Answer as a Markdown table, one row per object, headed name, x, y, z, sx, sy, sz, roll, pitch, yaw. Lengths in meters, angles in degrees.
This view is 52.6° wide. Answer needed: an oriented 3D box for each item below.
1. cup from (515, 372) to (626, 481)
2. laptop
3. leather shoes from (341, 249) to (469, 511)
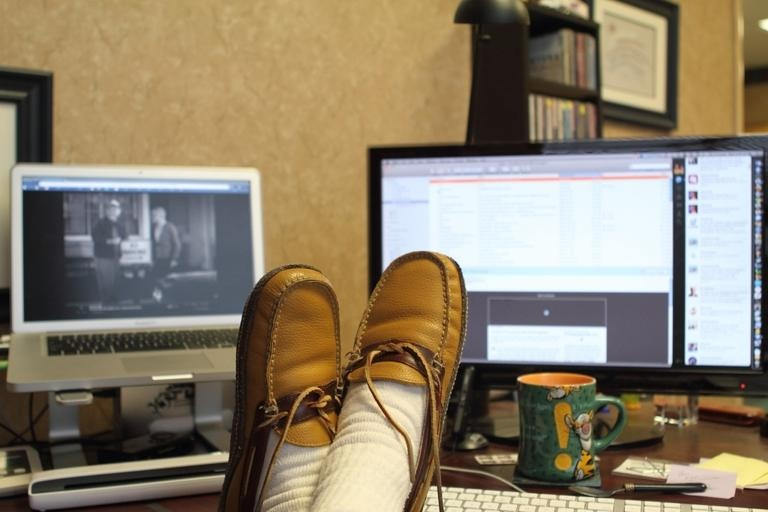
| name | x | y | z | sx | sy | sz | roll | pitch | yaw |
| --- | --- | --- | --- | --- | --- | --- | --- | --- | --- |
| cup | 0.255 | 0.251 | 1.125 | 0.186 | 0.151 | 0.117 | 2 | -5 | -12 |
| laptop | -0.407 | -0.015 | 1.312 | 0.515 | 0.338 | 0.332 | -1 | 3 | -17 |
| leather shoes | 0.039 | 0.161 | 1.173 | 0.146 | 0.395 | 0.125 | 9 | -5 | 19 |
